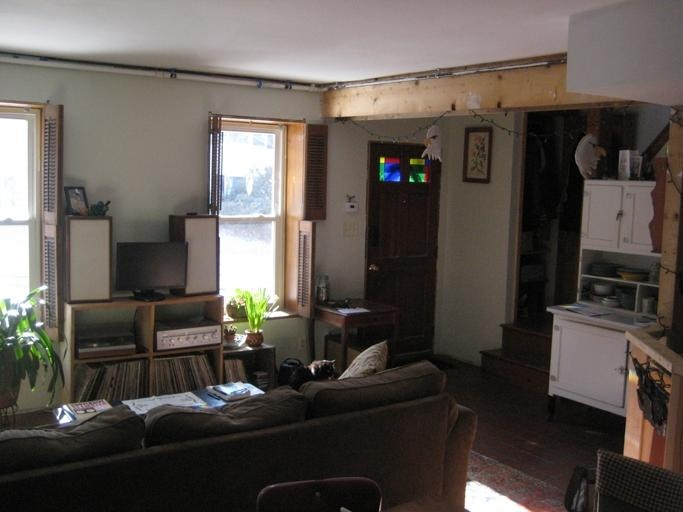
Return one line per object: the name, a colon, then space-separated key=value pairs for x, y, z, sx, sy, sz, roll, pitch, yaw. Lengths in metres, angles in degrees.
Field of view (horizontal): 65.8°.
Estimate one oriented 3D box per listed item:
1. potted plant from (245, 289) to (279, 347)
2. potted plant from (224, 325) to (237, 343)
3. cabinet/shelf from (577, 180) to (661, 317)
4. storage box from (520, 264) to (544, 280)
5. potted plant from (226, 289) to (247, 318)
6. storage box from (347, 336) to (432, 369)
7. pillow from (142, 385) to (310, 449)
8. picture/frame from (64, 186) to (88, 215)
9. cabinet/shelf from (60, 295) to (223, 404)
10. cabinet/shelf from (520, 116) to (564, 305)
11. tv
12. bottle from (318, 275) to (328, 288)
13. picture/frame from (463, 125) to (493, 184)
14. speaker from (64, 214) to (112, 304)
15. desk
potted plant: x=-0.840 y=0.618 z=5.457 sx=0.318 sy=0.581 sz=0.621 roll=1 pitch=8 yaw=-4
potted plant: x=-1.089 y=0.774 z=5.234 sx=0.125 sy=0.138 sz=0.140 roll=-1 pitch=-3 yaw=-21
cabinet/shelf: x=2.719 y=-0.122 z=5.059 sx=0.647 sy=1.191 sz=0.758 roll=-7 pitch=11 yaw=-44
storage box: x=2.409 y=0.211 z=6.675 sx=0.246 sy=0.237 sz=0.066 roll=1 pitch=7 yaw=-20
potted plant: x=-1.081 y=0.501 z=5.435 sx=0.186 sy=0.126 sz=0.287 roll=0 pitch=10 yaw=-12
storage box: x=0.445 y=0.932 z=5.151 sx=0.688 sy=0.350 sz=0.457 roll=-3 pitch=3 yaw=-43
pillow: x=-0.547 y=0.778 z=2.610 sx=0.797 sy=0.160 sz=0.296 roll=-3 pitch=9 yaw=-25
picture/frame: x=-2.298 y=-0.474 z=4.570 sx=0.032 sy=0.310 sz=0.232 roll=-14 pitch=-5 yaw=42
cabinet/shelf: x=-1.797 y=0.835 z=4.636 sx=0.894 sy=0.848 sz=0.297 roll=-4 pitch=8 yaw=-29
cabinet/shelf: x=2.492 y=-0.527 z=6.548 sx=0.487 sy=2.483 sz=0.693 roll=4 pitch=9 yaw=22
tv: x=-1.697 y=0.123 z=4.726 sx=0.518 sy=0.445 sz=0.216 roll=0 pitch=3 yaw=-27
bottle: x=-0.197 y=0.276 z=5.759 sx=0.103 sy=0.196 sz=0.106 roll=1 pitch=-9 yaw=0
picture/frame: x=1.652 y=-1.227 z=6.400 sx=0.047 sy=0.668 sz=0.394 roll=-7 pitch=11 yaw=-45
speaker: x=-2.130 y=0.027 z=4.481 sx=0.358 sy=0.725 sz=0.117 roll=-3 pitch=9 yaw=-28
desk: x=0.074 y=0.714 z=5.604 sx=0.757 sy=0.758 sz=0.762 roll=1 pitch=4 yaw=-33
